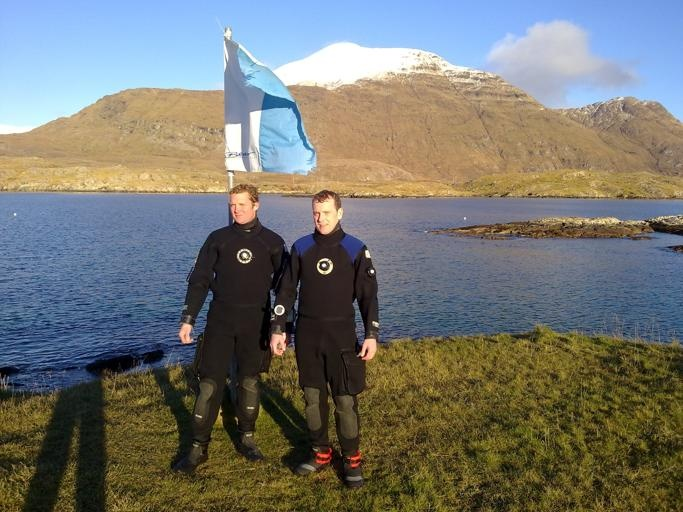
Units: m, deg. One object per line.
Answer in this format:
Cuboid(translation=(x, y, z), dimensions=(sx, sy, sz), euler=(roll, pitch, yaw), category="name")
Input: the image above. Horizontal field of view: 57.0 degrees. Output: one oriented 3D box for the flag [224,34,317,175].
Cuboid(translation=(-1.773, -3.578, 14.809), dimensions=(1.924, 3.267, 0.787), euler=(0, 8, -10), category="flag")
